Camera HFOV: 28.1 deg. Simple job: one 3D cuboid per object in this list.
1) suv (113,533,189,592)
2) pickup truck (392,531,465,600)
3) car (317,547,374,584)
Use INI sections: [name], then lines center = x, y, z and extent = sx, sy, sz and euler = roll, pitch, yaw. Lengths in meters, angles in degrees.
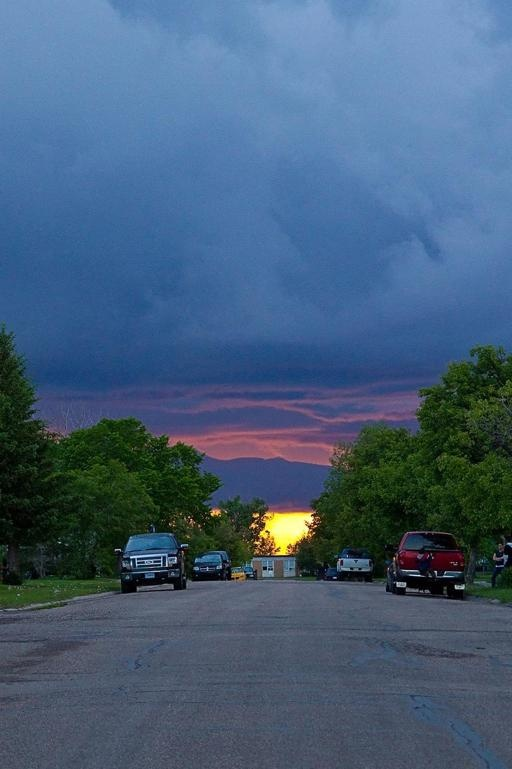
[suv]
center = -3.385, 5.923, 33.925
extent = 2.099, 1.868, 2.736
euler = -1, -6, 3
[pickup truck]
center = 5.023, 5.346, 30.396
extent = 1.950, 1.956, 2.913
euler = -1, -6, 5
[car]
center = 5.459, 10.343, 57.940
extent = 1.882, 1.680, 4.284
euler = 1, -3, 1
